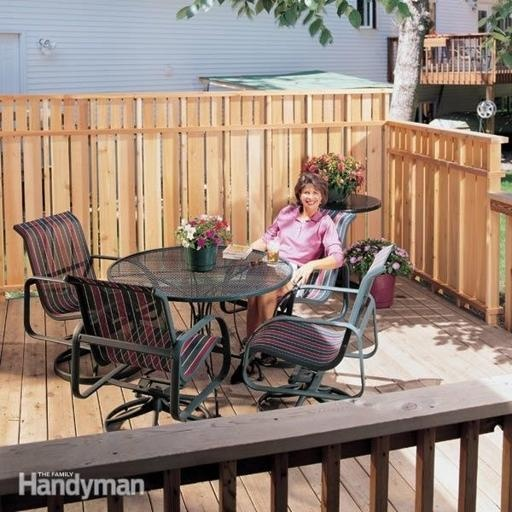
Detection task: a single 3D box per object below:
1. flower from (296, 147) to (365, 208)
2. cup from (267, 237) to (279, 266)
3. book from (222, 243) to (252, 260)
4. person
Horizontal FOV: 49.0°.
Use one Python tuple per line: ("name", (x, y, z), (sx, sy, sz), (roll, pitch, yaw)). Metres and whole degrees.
("flower", (0.759, -0.865, 6.012), (0.649, 0.539, 0.628), (1, 14, -2))
("cup", (0.126, -0.033, 4.165), (0.075, 0.175, 0.091), (0, 9, -3))
("book", (-0.153, -0.032, 4.355), (0.147, 0.041, 0.144), (4, 19, 14))
("person", (0.206, 0.132, 4.615), (0.924, 1.540, 0.903), (14, 19, 36))
